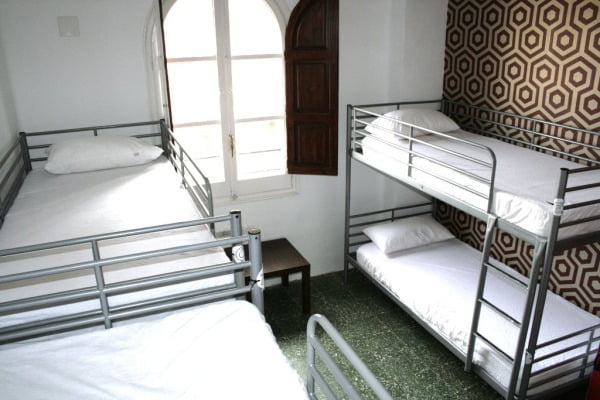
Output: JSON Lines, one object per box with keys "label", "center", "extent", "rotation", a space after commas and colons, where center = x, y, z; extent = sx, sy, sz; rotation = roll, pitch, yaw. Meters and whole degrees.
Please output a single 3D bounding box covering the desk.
{"label": "desk", "center": [-0.354, 0.740, 4.675], "extent": [0.882, 0.646, 0.820], "rotation": [-9, 23, -21]}
